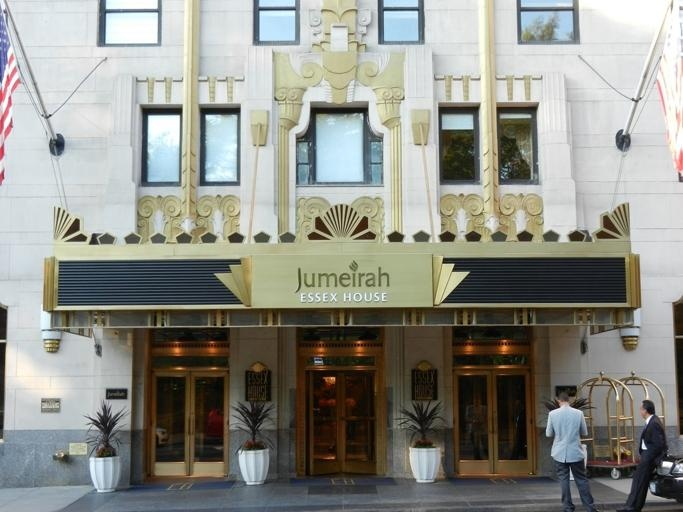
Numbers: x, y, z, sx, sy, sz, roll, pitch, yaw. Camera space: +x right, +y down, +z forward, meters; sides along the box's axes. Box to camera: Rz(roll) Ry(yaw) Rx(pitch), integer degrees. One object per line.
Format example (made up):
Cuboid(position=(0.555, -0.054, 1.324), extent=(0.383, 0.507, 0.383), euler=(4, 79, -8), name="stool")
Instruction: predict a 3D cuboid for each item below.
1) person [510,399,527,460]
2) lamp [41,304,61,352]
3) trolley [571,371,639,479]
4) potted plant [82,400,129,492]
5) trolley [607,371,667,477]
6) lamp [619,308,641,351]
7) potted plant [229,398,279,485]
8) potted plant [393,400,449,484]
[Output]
Cuboid(position=(4.666, 4.595, 31.144), extent=(0.423, 1.553, 0.135), euler=(-3, -9, 1), name="person")
Cuboid(position=(-7.367, 1.902, 29.873), extent=(0.533, 1.040, 1.290), euler=(0, -10, -15), name="lamp")
Cuboid(position=(6.861, 4.294, 30.156), extent=(1.709, 2.546, 1.753), euler=(-7, -1, 7), name="trolley")
Cuboid(position=(-5.966, 4.789, 29.765), extent=(0.990, 2.310, 1.001), euler=(0, -10, -12), name="potted plant")
Cuboid(position=(7.327, 4.409, 30.220), extent=(1.612, 2.458, 1.549), euler=(-3, -7, 8), name="trolley")
Cuboid(position=(7.434, 1.921, 30.599), extent=(0.379, 0.790, 0.392), euler=(-9, -15, 31), name="lamp")
Cuboid(position=(-2.279, 4.777, 30.215), extent=(1.047, 2.169, 0.892), euler=(-2, -9, -4), name="potted plant")
Cuboid(position=(2.056, 4.779, 30.206), extent=(1.283, 1.932, 1.256), euler=(1, -10, -32), name="potted plant")
